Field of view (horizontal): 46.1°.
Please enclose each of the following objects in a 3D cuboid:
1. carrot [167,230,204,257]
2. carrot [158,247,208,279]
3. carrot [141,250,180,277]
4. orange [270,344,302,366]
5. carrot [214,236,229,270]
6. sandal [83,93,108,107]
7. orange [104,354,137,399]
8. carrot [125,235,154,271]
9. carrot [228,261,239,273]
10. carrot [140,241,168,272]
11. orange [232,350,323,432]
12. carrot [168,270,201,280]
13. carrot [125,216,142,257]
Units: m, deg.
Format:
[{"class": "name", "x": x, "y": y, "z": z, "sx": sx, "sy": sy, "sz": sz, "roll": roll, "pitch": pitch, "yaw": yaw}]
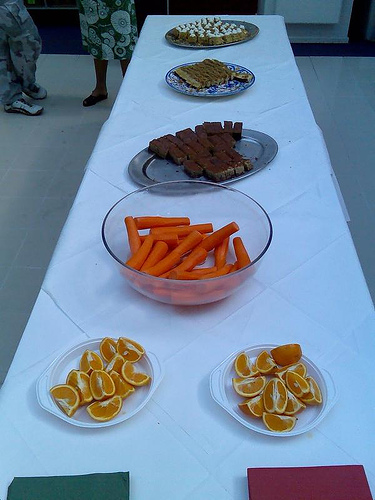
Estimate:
[{"class": "carrot", "x": -0.003, "y": -0.026, "z": 0.975, "sx": 0.028, "sy": 0.026, "sz": 0.092, "roll": 38, "pitch": 57, "yaw": 15}, {"class": "carrot", "x": 0.000, "y": 0.025, "z": 0.905, "sx": 0.047, "sy": 0.040, "sz": 0.141, "roll": 37, "pitch": 20, "yaw": 7}, {"class": "carrot", "x": -0.043, "y": 0.028, "z": 0.900, "sx": 0.029, "sy": 0.030, "sz": 0.098, "roll": -8, "pitch": 19, "yaw": 45}, {"class": "orange", "x": 0.170, "y": 0.176, "z": 0.742, "sx": 0.040, "sy": 0.040, "sz": 0.024, "roll": -8, "pitch": 65, "yaw": -2}, {"class": "carrot", "x": 0.076, "y": 0.008, "z": 0.943, "sx": 0.022, "sy": 0.021, "sz": 0.078, "roll": 37, "pitch": 36, "yaw": -16}, {"class": "sandal", "x": -0.734, "y": -1.221, "z": 3.584, "sx": 0.200, "sy": 0.063, "sz": 0.072, "roll": -30, "pitch": 57, "yaw": -26}, {"class": "orange", "x": -0.112, "y": 0.208, "z": 0.728, "sx": 0.021, "sy": 0.040, "sz": 0.064, "roll": -42, "pitch": 69, "yaw": -5}, {"class": "carrot", "x": -0.096, "y": 0.004, "z": 0.906, "sx": 0.036, "sy": 0.017, "sz": 0.075, "roll": 14, "pitch": 48, "yaw": 20}, {"class": "carrot", "x": 0.093, "y": 0.037, "z": 0.904, "sx": 0.013, "sy": 0.005, "sz": 0.024, "roll": 29, "pitch": 32, "yaw": 16}, {"class": "carrot", "x": -0.060, "y": 0.008, "z": 0.930, "sx": 0.028, "sy": 0.026, "sz": 0.085, "roll": 2, "pitch": 39, "yaw": 41}, {"class": "orange", "x": 0.137, "y": 0.226, "z": 0.717, "sx": 0.090, "sy": 0.032, "sz": 0.107, "roll": -9, "pitch": 45, "yaw": 1}, {"class": "carrot", "x": -0.007, "y": 0.048, "z": 0.832, "sx": 0.078, "sy": 0.022, "sz": 0.020, "roll": 2, "pitch": 9, "yaw": -31}, {"class": "carrot", "x": -0.109, "y": -0.026, "z": 0.959, "sx": 0.030, "sy": 0.096, "sz": 0.023, "roll": 1, "pitch": 13, "yaw": 7}]
